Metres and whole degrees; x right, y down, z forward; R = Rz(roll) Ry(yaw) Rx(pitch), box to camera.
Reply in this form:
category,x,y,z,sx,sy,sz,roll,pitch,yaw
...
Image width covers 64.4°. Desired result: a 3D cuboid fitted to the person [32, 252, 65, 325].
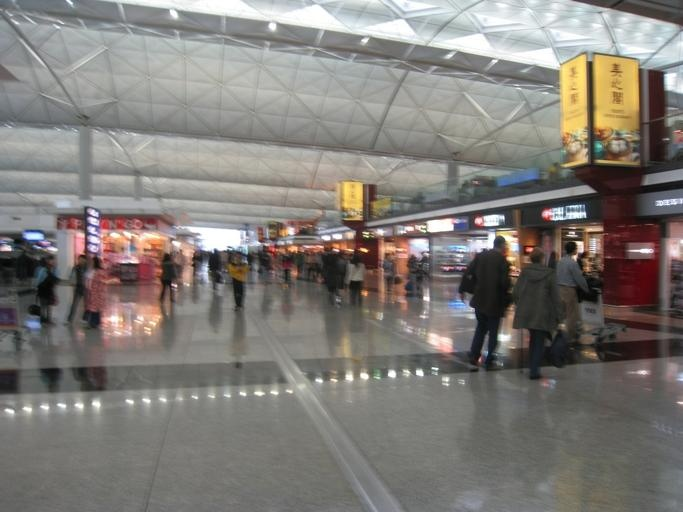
category,x,y,z,sx,sy,sz,roll,pitch,yaw
person,-7.790,0.888,14.376,0.547,1.662,1.346,-3,2,-27

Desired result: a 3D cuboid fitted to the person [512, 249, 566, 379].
category,x,y,z,sx,sy,sz,roll,pitch,yaw
person,3.035,0.886,8.482,0.700,2.006,0.453,-2,2,15

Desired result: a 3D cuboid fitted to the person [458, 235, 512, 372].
category,x,y,z,sx,sy,sz,roll,pitch,yaw
person,2.462,0.770,9.141,0.751,2.190,0.853,-3,2,-15
